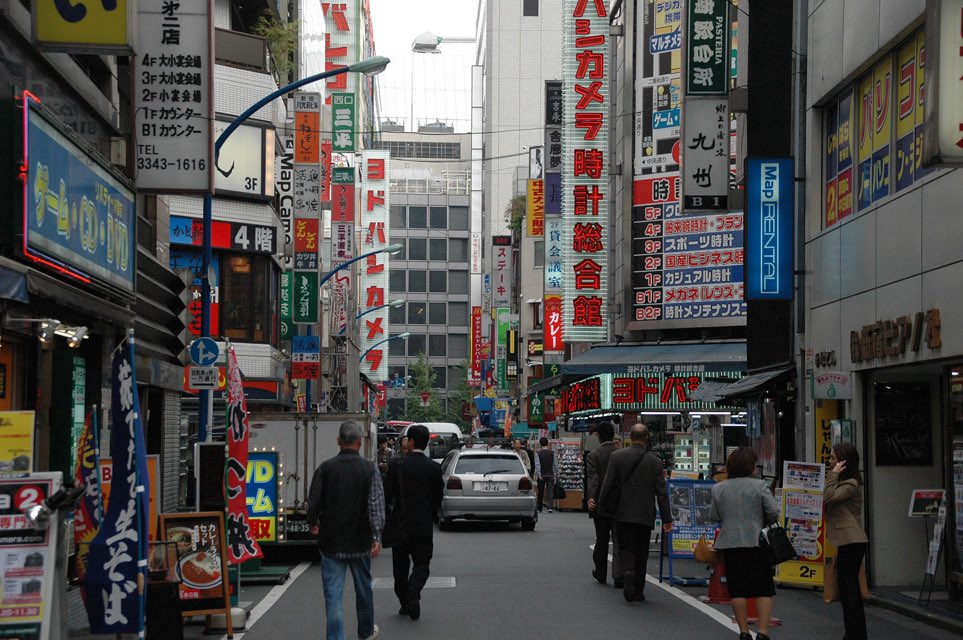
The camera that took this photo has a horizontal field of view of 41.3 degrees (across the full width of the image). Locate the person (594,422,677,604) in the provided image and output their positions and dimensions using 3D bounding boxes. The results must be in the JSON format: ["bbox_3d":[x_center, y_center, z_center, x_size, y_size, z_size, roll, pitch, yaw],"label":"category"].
[{"bbox_3d":[2.377,2.918,19.660,1.070,2.757,1.119,-2,-11,6],"label":"person"}]

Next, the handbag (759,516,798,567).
[{"bbox_3d":[3.817,2.857,16.470,0.418,0.553,0.291,-5,-12,20],"label":"handbag"}]

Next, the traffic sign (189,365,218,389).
[{"bbox_3d":[-5.516,1.123,25.591,0.662,0.664,0.369,1,6,-8],"label":"traffic sign"}]

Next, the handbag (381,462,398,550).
[{"bbox_3d":[-1.267,2.601,18.017,0.248,0.954,0.533,3,1,0],"label":"handbag"}]

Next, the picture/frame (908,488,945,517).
[{"bbox_3d":[6.644,2.715,19.008,0.462,0.454,0.065,1,-5,11],"label":"picture/frame"}]

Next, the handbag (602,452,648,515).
[{"bbox_3d":[2.163,2.557,19.680,0.719,0.881,0.499,-11,4,-6],"label":"handbag"}]
